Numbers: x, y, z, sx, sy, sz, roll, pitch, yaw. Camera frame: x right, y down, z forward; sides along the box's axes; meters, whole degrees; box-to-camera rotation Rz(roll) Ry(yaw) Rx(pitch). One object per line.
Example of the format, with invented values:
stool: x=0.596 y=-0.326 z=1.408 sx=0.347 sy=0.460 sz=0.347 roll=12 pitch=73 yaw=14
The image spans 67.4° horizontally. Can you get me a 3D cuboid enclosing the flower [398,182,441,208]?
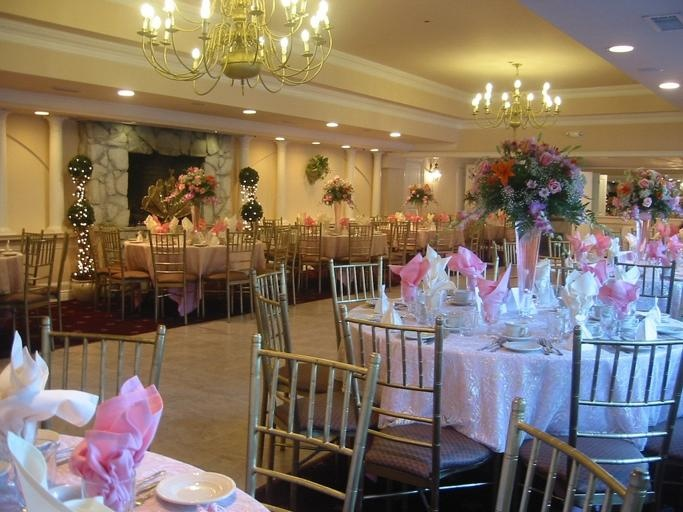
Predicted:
flower: x=2.019 y=-1.562 z=13.118 sx=0.904 sy=0.989 sz=0.941 roll=3 pitch=7 yaw=29

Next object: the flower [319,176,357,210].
flower: x=-0.067 y=-1.268 z=9.903 sx=0.491 sy=0.578 sz=0.497 roll=-1 pitch=2 yaw=-10

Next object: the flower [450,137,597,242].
flower: x=1.186 y=-0.434 z=3.330 sx=0.647 sy=0.605 sz=0.670 roll=0 pitch=7 yaw=-7

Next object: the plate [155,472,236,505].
plate: x=-0.378 y=0.603 z=1.324 sx=0.189 sy=0.033 sz=0.153 roll=0 pitch=1 yaw=36

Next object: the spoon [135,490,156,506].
spoon: x=-0.508 y=0.619 z=1.310 sx=0.034 sy=0.013 sz=0.070 roll=-1 pitch=1 yaw=24

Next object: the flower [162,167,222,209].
flower: x=-2.157 y=-0.975 z=7.306 sx=0.759 sy=0.680 sz=0.752 roll=-3 pitch=10 yaw=-41
